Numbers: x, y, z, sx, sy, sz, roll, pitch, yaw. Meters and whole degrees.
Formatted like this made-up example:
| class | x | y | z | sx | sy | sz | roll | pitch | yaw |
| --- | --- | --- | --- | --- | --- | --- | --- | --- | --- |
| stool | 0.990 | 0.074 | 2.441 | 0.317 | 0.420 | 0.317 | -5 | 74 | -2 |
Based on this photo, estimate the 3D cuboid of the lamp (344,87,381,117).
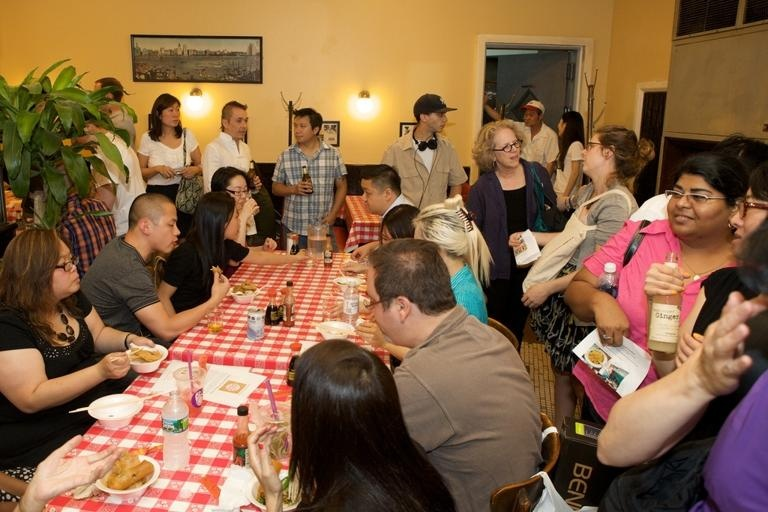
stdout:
| class | x | y | z | sx | sy | sz | roll | pitch | yaw |
| --- | --- | --- | --- | --- | --- | --- | --- | --- | --- |
| lamp | -0.267 | -2.056 | 7.074 | 0.426 | 0.362 | 0.130 | -4 | 18 | -12 |

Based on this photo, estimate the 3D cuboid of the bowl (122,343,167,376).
| class | x | y | z | sx | sy | sz | roll | pitch | yaw |
| --- | --- | --- | --- | --- | --- | --- | --- | --- | --- |
| bowl | -1.163 | 0.469 | 2.567 | 0.157 | 0.096 | 0.160 | 10 | 12 | -2 |

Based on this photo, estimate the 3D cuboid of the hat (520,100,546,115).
| class | x | y | z | sx | sy | sz | roll | pitch | yaw |
| --- | --- | --- | --- | --- | --- | --- | --- | --- | --- |
| hat | 1.927 | -1.932 | 6.686 | 0.275 | 0.151 | 0.209 | 11 | 16 | -9 |

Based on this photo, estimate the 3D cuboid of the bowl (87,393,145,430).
| class | x | y | z | sx | sy | sz | roll | pitch | yaw |
| --- | --- | --- | --- | --- | --- | --- | --- | --- | --- |
| bowl | -1.155 | 0.663 | 2.249 | 0.143 | 0.060 | 0.161 | 10 | 17 | -5 |

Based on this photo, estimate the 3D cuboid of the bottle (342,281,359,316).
| class | x | y | z | sx | sy | sz | roll | pitch | yaw |
| --- | --- | --- | --- | --- | --- | --- | --- | --- | --- |
| bottle | -0.199 | 0.261 | 3.165 | 0.106 | 0.268 | 0.114 | 1 | 19 | 0 |

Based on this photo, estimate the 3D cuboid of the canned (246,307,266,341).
| class | x | y | z | sx | sy | sz | roll | pitch | yaw |
| --- | --- | --- | --- | --- | --- | --- | --- | --- | --- |
| canned | -0.701 | 0.378 | 2.870 | 0.107 | 0.188 | 0.112 | 10 | 17 | 25 |

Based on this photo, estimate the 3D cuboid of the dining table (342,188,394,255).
| class | x | y | z | sx | sy | sz | roll | pitch | yaw |
| --- | --- | --- | --- | --- | --- | --- | --- | --- | --- |
| dining table | -0.142 | -0.301 | 4.529 | 0.426 | 0.191 | 0.759 | -1 | 30 | -5 |

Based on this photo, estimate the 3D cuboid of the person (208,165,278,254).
| class | x | y | z | sx | sy | sz | roll | pitch | yaw |
| --- | --- | --- | --- | --- | --- | --- | --- | --- | --- |
| person | -1.206 | -0.396 | 4.474 | 0.281 | 0.901 | 0.303 | -8 | 55 | 2 |

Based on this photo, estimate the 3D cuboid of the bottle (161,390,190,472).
| class | x | y | z | sx | sy | sz | roll | pitch | yaw |
| --- | --- | --- | --- | --- | --- | --- | --- | --- | --- |
| bottle | -0.814 | 0.679 | 2.035 | 0.111 | 0.283 | 0.121 | 0 | 17 | 0 |

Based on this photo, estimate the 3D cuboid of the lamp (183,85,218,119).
| class | x | y | z | sx | sy | sz | roll | pitch | yaw |
| --- | --- | --- | --- | --- | --- | --- | --- | --- | --- |
| lamp | -2.440 | -2.068 | 7.000 | 0.350 | 0.510 | 0.356 | -9 | 22 | -38 |

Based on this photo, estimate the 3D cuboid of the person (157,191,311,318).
| class | x | y | z | sx | sy | sz | roll | pitch | yaw |
| --- | --- | --- | --- | --- | --- | --- | --- | --- | --- |
| person | -1.073 | -0.061 | 3.686 | 0.718 | 1.010 | 0.552 | 6 | 19 | -10 |

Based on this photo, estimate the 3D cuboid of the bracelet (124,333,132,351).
| class | x | y | z | sx | sy | sz | roll | pitch | yaw |
| --- | --- | --- | --- | --- | --- | --- | --- | --- | --- |
| bracelet | -1.392 | 0.466 | 2.834 | 0.026 | 0.077 | 0.063 | 4 | 5 | 11 |

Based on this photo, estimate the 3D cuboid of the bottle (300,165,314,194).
| class | x | y | z | sx | sy | sz | roll | pitch | yaw |
| --- | --- | --- | --- | --- | --- | --- | --- | --- | --- |
| bottle | -0.783 | -0.777 | 5.388 | 0.117 | 0.292 | 0.265 | -3 | 18 | -8 |

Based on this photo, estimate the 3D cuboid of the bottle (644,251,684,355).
| class | x | y | z | sx | sy | sz | roll | pitch | yaw |
| --- | --- | --- | --- | --- | --- | --- | --- | --- | --- |
| bottle | 1.168 | 0.271 | 2.185 | 0.122 | 0.240 | 0.162 | 8 | 20 | 25 |

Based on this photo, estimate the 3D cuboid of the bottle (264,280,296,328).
| class | x | y | z | sx | sy | sz | roll | pitch | yaw |
| --- | --- | --- | --- | --- | --- | --- | --- | --- | --- |
| bottle | -0.625 | 0.298 | 3.156 | 0.162 | 0.279 | 0.156 | 2 | 16 | -1 |

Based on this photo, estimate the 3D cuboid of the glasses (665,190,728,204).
| class | x | y | z | sx | sy | sz | roll | pitch | yaw |
| --- | --- | --- | --- | --- | --- | --- | --- | --- | --- |
| glasses | 1.392 | -0.264 | 2.317 | 0.202 | 0.039 | 0.064 | 14 | 23 | 34 |

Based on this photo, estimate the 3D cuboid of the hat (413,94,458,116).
| class | x | y | z | sx | sy | sz | roll | pitch | yaw |
| --- | --- | --- | --- | --- | --- | --- | --- | --- | --- |
| hat | 0.470 | -1.405 | 4.949 | 0.344 | 0.171 | 0.247 | -4 | 16 | 10 |

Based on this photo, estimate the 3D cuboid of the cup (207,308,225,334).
| class | x | y | z | sx | sy | sz | roll | pitch | yaw |
| --- | --- | --- | --- | --- | --- | --- | --- | --- | --- |
| cup | -0.970 | 0.385 | 3.023 | 0.075 | 0.095 | 0.125 | 1 | 3 | -3 |

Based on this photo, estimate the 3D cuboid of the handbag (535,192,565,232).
| class | x | y | z | sx | sy | sz | roll | pitch | yaw |
| --- | --- | --- | --- | --- | --- | --- | --- | --- | --- |
| handbag | 1.294 | -0.314 | 4.118 | 0.288 | 0.109 | 0.240 | 32 | 31 | 3 |
